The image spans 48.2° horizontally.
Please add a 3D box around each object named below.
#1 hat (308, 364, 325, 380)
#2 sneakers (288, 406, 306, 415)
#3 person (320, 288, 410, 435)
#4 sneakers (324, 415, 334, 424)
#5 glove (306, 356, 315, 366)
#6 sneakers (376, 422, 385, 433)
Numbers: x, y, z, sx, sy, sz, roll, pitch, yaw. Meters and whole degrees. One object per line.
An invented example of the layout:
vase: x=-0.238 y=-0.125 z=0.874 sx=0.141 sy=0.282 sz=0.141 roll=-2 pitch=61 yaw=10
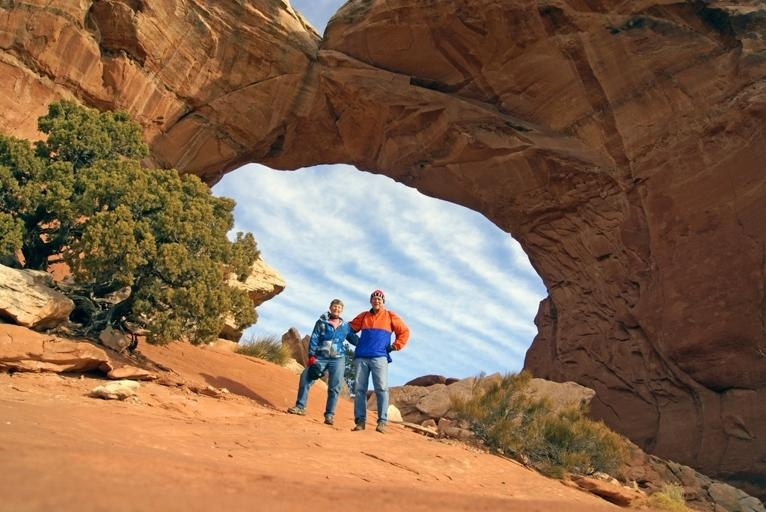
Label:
hat: x=-1.621 y=2.743 z=20.420 sx=0.375 sy=0.396 sz=0.296 roll=3 pitch=-7 yaw=18
sneakers: x=-2.115 y=3.710 z=20.524 sx=0.349 sy=0.177 sz=0.166 roll=33 pitch=-28 yaw=-27
person: x=-0.267 y=2.498 z=20.228 sx=1.288 sy=3.266 sz=0.601 roll=12 pitch=-15 yaw=-1
sneakers: x=-1.319 y=3.892 z=20.240 sx=0.176 sy=0.268 sz=0.262 roll=1 pitch=11 yaw=0
glove: x=-1.748 y=2.452 z=20.413 sx=0.239 sy=0.345 sz=0.185 roll=0 pitch=-23 yaw=-4
sneakers: x=-0.080 y=4.004 z=20.053 sx=0.242 sy=0.244 sz=0.144 roll=12 pitch=-15 yaw=3
